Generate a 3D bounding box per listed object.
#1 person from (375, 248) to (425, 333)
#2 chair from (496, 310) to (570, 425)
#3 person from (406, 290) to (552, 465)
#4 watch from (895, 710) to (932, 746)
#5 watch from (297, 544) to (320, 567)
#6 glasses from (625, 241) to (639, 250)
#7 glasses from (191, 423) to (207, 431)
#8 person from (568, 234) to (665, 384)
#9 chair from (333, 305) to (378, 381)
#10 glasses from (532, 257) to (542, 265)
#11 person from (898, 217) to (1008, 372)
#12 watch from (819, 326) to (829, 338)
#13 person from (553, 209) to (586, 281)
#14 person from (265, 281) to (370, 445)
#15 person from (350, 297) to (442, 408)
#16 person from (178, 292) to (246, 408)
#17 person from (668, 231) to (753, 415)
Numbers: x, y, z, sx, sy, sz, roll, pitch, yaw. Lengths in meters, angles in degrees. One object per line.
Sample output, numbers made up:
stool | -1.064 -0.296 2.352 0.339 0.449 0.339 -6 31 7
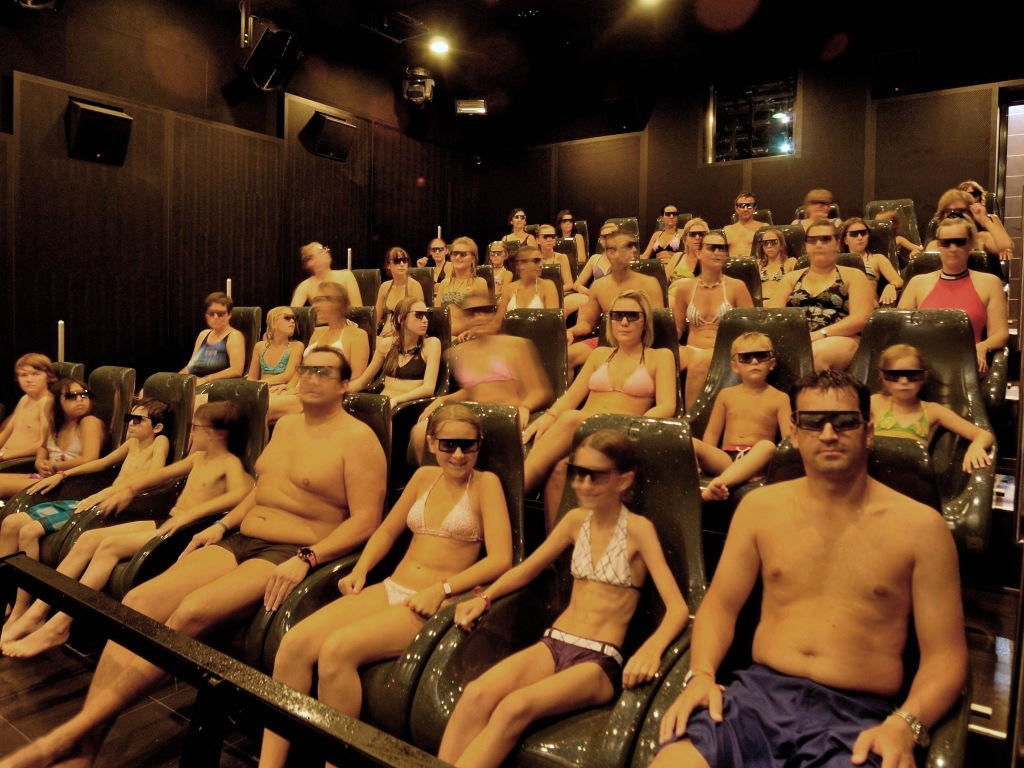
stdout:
person | -1.026 -0.765 6.377 0.427 0.811 0.402 -2 3 3
chair | 0.183 -0.176 4.389 0.392 0.710 0.527 -2 1 19
person | -0.065 -0.108 4.509 0.849 1.407 0.899 0 7 23
watch | 1.159 0.980 2.111 0.062 0.097 0.093 -26 21 -23
watch | -0.883 0.735 3.126 0.061 0.100 0.085 -17 26 -35
glasses | 0.796 -0.902 4.847 0.042 0.069 0.422 3 8 14
glasses | -1.643 0.228 3.811 0.061 0.025 0.069 3 -1 -4
person | 0.702 -0.560 4.874 0.720 0.995 0.516 -4 -6 19
chair | -1.286 -0.338 5.499 0.368 0.635 0.448 1 3 8
glasses | 0.183 -0.897 5.404 0.033 0.052 0.041 -8 19 18
person | 2.632 -0.478 4.384 0.577 1.086 0.519 -1 -7 41
watch | 1.893 -0.317 4.433 0.037 0.044 0.051 -2 -7 4
person | 0.632 -1.480 8.300 0.392 1.020 0.519 -2 -5 -8
person | -1.402 -0.215 5.217 0.549 0.995 0.687 4 11 15
person | -0.800 -0.127 4.850 0.581 0.889 0.684 5 1 -6
person | -2.477 -0.195 5.859 0.486 1.065 0.566 4 0 -15
person | 1.259 -0.289 4.679 0.523 1.421 0.662 1 1 20
